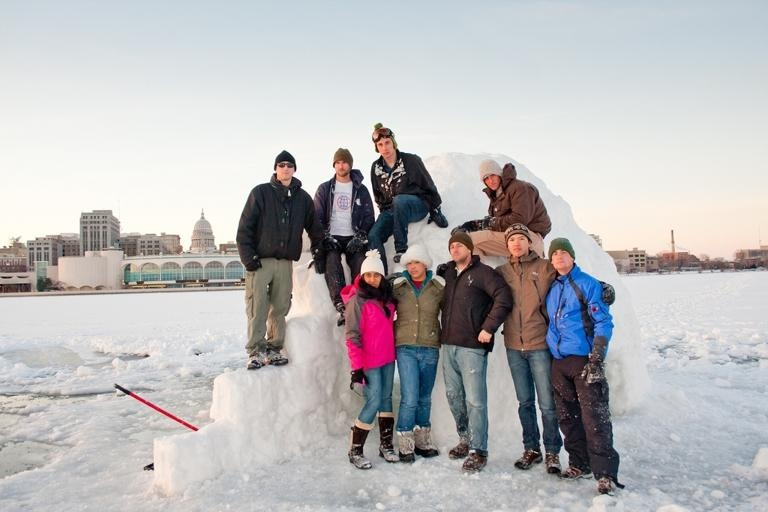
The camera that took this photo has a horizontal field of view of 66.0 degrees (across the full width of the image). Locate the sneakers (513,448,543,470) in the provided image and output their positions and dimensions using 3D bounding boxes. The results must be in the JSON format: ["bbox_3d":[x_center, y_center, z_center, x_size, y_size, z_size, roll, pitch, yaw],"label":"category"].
[{"bbox_3d":[1.780,2.484,7.290,0.458,0.215,0.150,3,-8,-45],"label":"sneakers"}]

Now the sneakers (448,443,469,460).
[{"bbox_3d":[0.930,2.439,7.423,0.137,0.134,0.307,-4,-8,40],"label":"sneakers"}]

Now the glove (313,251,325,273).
[{"bbox_3d":[-0.897,0.090,8.257,0.075,0.244,0.249,2,-5,19],"label":"glove"}]

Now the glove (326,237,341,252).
[{"bbox_3d":[-0.732,-0.168,8.330,0.160,0.211,0.056,-1,-2,-1],"label":"glove"}]

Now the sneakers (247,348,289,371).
[{"bbox_3d":[-1.578,1.366,7.873,0.561,0.237,0.212,9,-15,-26],"label":"sneakers"}]

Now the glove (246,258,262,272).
[{"bbox_3d":[-1.716,0.110,7.750,0.219,0.177,0.116,-2,0,-12],"label":"glove"}]

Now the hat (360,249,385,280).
[{"bbox_3d":[-0.145,0.110,7.521,0.267,0.322,0.324,5,1,-1],"label":"hat"}]

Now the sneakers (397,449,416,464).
[{"bbox_3d":[0.277,2.489,7.368,0.151,0.081,0.205,-1,-5,1],"label":"sneakers"}]

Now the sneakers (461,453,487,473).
[{"bbox_3d":[1.094,2.512,7.205,0.141,0.160,0.359,-8,-19,33],"label":"sneakers"}]

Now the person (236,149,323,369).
[{"bbox_3d":[-1.414,0.016,7.952,1.067,2.864,0.440,-2,0,-16],"label":"person"}]

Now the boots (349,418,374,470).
[{"bbox_3d":[-0.315,2.344,7.446,0.265,0.539,0.430,-2,0,-10],"label":"boots"}]

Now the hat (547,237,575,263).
[{"bbox_3d":[2.179,-0.083,7.275,0.254,0.263,0.285,-2,-18,16],"label":"hat"}]

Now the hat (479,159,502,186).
[{"bbox_3d":[1.413,-1.144,8.062,0.256,0.274,0.289,-24,2,3],"label":"hat"}]

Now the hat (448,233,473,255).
[{"bbox_3d":[1.011,-0.190,7.573,0.251,0.198,0.257,4,-19,20],"label":"hat"}]

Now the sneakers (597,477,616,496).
[{"bbox_3d":[2.544,2.629,6.772,0.185,0.137,0.154,7,-11,-9],"label":"sneakers"}]

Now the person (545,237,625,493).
[{"bbox_3d":[2.319,1.242,6.998,0.783,2.506,0.383,-2,0,25],"label":"person"}]

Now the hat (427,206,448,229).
[{"bbox_3d":[0.788,-0.555,8.585,0.271,0.313,0.096,-36,-25,-2],"label":"hat"}]

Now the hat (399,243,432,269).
[{"bbox_3d":[0.441,-0.007,7.674,0.321,0.271,0.331,-1,-7,9],"label":"hat"}]

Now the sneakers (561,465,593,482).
[{"bbox_3d":[2.266,2.564,7.025,0.415,0.192,0.152,4,-9,-4],"label":"sneakers"}]

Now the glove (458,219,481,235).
[{"bbox_3d":[1.191,-0.402,8.224,0.256,0.128,0.363,-4,1,14],"label":"glove"}]

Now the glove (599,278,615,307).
[{"bbox_3d":[2.646,0.432,7.039,0.119,0.263,0.208,-21,-23,2],"label":"glove"}]
